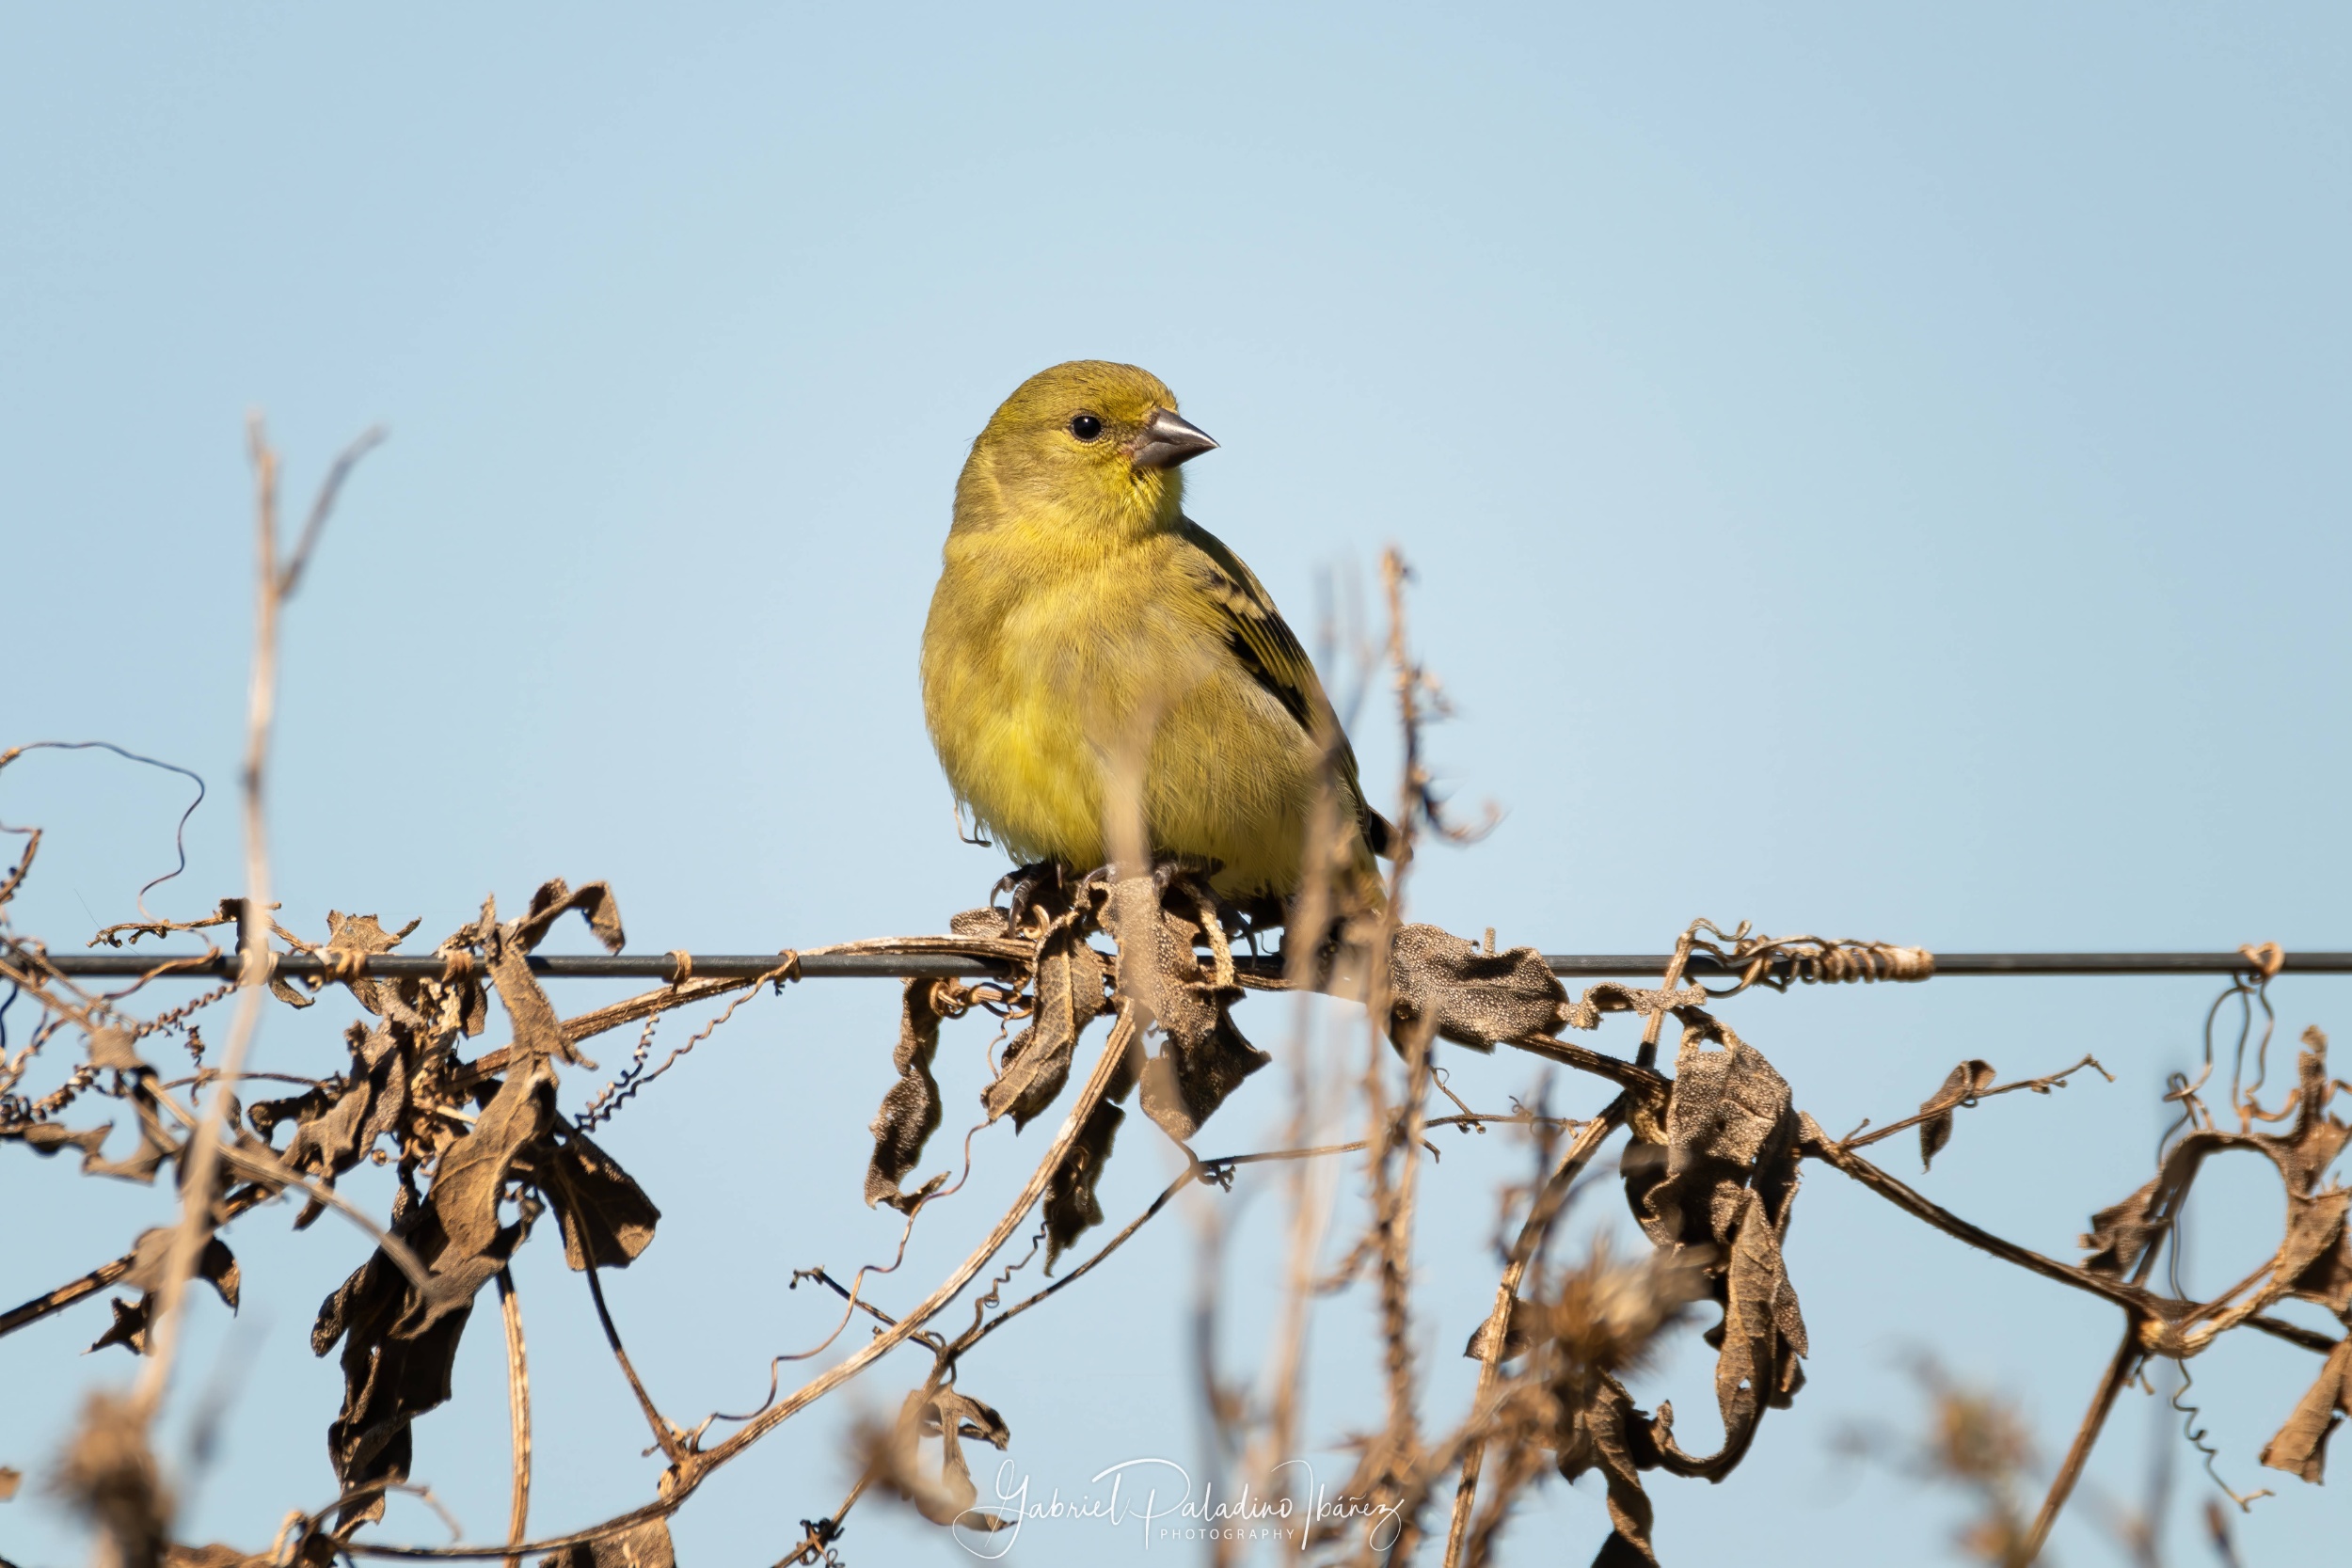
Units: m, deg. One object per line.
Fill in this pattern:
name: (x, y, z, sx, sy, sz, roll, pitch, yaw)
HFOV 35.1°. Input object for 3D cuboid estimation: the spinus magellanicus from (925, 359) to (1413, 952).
spinus magellanicus: (-0.133, -0.318, 8.193, 0.884, 1.448, 0.594, 0, -38, 3)
